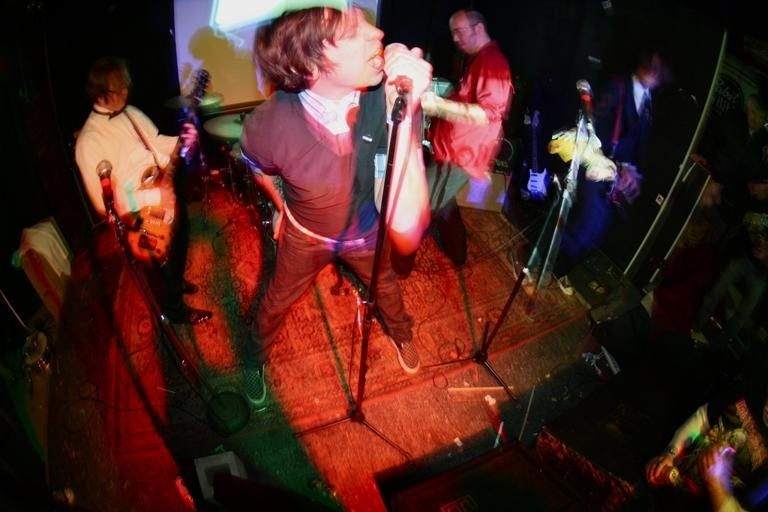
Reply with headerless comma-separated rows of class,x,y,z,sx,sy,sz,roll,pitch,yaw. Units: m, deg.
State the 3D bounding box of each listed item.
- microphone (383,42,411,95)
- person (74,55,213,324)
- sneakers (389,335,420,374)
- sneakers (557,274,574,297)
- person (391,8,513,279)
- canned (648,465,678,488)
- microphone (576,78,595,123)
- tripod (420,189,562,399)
microphone,0.083,-1.050,2.941,0.164,0.259,0.331,0,26,1
person,-2.153,-0.549,4.497,0.834,2.361,1.094,-1,47,-7
sneakers,0.189,0.804,4.462,0.144,0.151,0.398,-17,67,-16
sneakers,1.814,0.300,5.125,0.117,0.068,0.198,-28,54,30
person,0.685,-0.885,4.678,0.798,2.570,1.156,5,57,-10
canned,1.984,1.555,3.660,0.153,0.133,0.079,4,25,1
microphone,1.321,-0.999,3.388,0.108,0.252,0.259,9,27,18
tripod,1.017,0.425,4.877,0.716,2.006,0.875,28,33,12
